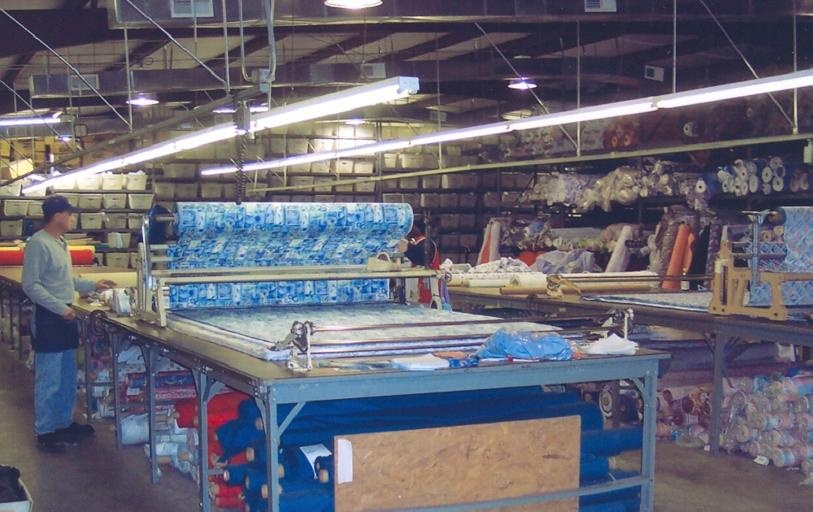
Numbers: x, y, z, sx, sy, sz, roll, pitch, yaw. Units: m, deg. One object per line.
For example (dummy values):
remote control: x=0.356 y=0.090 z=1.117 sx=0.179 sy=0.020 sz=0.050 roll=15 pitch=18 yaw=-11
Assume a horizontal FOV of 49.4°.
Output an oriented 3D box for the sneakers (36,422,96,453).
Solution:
sneakers: x=-3.736 y=1.969 z=9.613 sx=0.617 sy=0.255 sz=0.224 roll=-12 pitch=10 yaw=-28

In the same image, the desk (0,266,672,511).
desk: x=-0.571 y=1.308 z=7.927 sx=5.262 sy=2.058 sz=2.273 roll=4 pitch=7 yaw=26

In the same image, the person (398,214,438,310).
person: x=0.155 y=0.085 z=12.792 sx=0.486 sy=1.361 sz=0.381 roll=-1 pitch=18 yaw=-14
